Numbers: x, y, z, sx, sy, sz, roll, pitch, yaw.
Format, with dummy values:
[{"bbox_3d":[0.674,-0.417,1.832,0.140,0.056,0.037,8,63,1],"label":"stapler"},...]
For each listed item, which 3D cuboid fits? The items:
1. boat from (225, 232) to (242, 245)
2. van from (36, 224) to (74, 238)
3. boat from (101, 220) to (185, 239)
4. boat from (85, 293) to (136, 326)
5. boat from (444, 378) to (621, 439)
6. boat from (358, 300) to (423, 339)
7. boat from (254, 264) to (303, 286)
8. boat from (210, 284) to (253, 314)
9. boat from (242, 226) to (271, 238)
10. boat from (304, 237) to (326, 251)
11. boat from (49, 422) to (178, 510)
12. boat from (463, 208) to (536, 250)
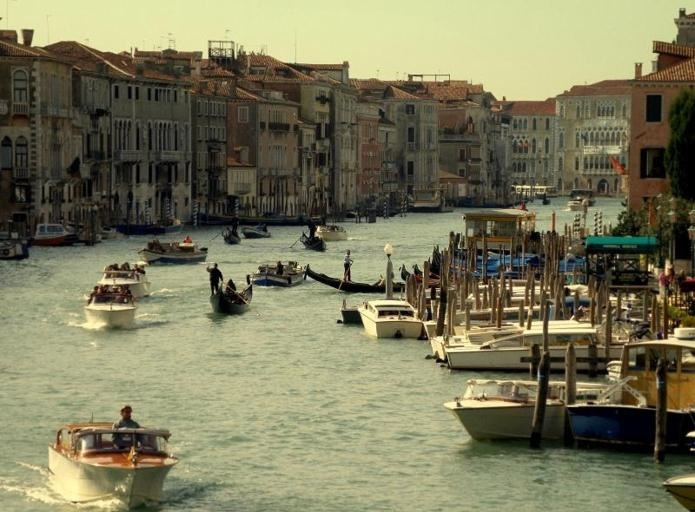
[{"bbox_3d":[-8.414,-1.481,107.653,1.082,0.926,1.059,-2,2,-14],"label":"boat"},{"bbox_3d":[-19.920,-1.861,99.405,2.362,0.905,1.497,-2,2,-14],"label":"van"},{"bbox_3d":[-15.516,-1.965,113.992,6.028,0.907,1.761,-1,5,-27],"label":"boat"},{"bbox_3d":[-10.294,2.277,64.179,2.153,1.469,1.504,-1,2,28],"label":"boat"},{"bbox_3d":[5.980,4.835,48.028,6.419,1.952,2.168,-2,5,-33],"label":"boat"},{"bbox_3d":[1.627,2.569,64.544,2.177,1.524,6.769,1,1,-9],"label":"boat"},{"bbox_3d":[-3.635,0.959,78.814,1.993,1.085,3.119,-1,2,27],"label":"boat"},{"bbox_3d":[-5.350,1.971,68.645,1.382,1.215,2.449,-1,2,17],"label":"boat"},{"bbox_3d":[-7.255,-2.023,115.899,2.463,0.937,1.410,-3,2,-23],"label":"boat"},{"bbox_3d":[-2.459,-0.928,105.178,0.632,0.672,2.233,-2,1,-18],"label":"boat"},{"bbox_3d":[-6.770,5.761,42.237,2.888,2.527,2.773,-3,2,-25],"label":"boat"},{"bbox_3d":[8.893,-1.598,85.772,2.791,1.760,5.164,0,-1,9],"label":"boat"}]
